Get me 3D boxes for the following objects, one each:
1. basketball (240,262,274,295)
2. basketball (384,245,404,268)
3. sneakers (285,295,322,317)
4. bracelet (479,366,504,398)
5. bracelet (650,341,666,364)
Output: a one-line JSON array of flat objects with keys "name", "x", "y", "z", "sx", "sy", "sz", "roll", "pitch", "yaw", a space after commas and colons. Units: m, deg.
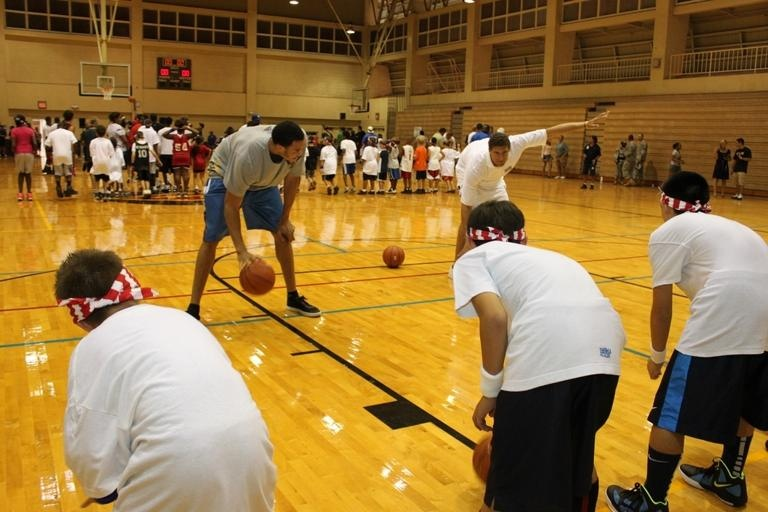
[{"name": "basketball", "x": -1.055, "y": 0.170, "z": 4.631, "sx": 0.267, "sy": 0.327, "sz": 0.273, "roll": -3, "pitch": 2, "yaw": 17}, {"name": "basketball", "x": 0.117, "y": 0.011, "z": 7.267, "sx": 0.253, "sy": 0.281, "sz": 0.262, "roll": 3, "pitch": 4, "yaw": 28}, {"name": "sneakers", "x": -0.793, "y": 0.482, "z": 5.351, "sx": 0.397, "sy": 0.165, "sz": 0.150, "roll": 20, "pitch": 19, "yaw": 26}, {"name": "bracelet", "x": 0.442, "y": 0.535, "z": 2.343, "sx": 0.116, "sy": 0.118, "sz": 0.098, "roll": -5, "pitch": 20, "yaw": -14}, {"name": "bracelet", "x": 1.455, "y": 0.533, "z": 2.955, "sx": 0.105, "sy": 0.113, "sz": 0.102, "roll": 5, "pitch": 22, "yaw": 27}]
